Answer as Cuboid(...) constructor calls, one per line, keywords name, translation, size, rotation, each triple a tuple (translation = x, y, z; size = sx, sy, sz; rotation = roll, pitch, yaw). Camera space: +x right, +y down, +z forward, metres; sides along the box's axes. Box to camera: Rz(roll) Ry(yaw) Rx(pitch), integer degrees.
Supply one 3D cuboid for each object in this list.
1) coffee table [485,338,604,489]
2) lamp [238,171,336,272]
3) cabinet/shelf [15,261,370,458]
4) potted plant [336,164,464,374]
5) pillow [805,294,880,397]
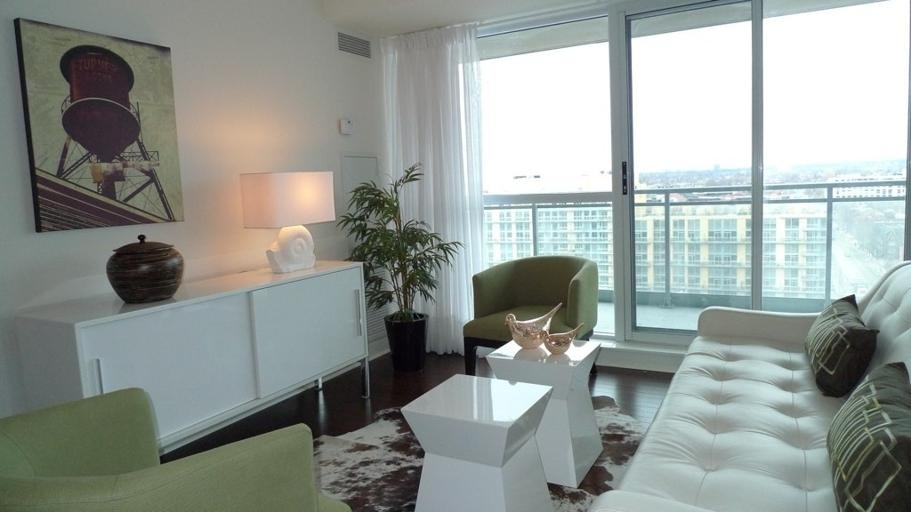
Cuboid(name="coffee table", translation=(0.794, 1.091, 4.165), size=(0.864, 1.145, 0.909), rotation=(-2, -1, 28))
Cuboid(name="lamp", translation=(-1.356, -0.275, 4.658), size=(0.718, 0.811, 0.295), rotation=(-3, 10, -15))
Cuboid(name="cabinet/shelf", translation=(-1.877, 0.843, 4.566), size=(0.785, 1.164, 2.651), rotation=(1, 6, 27))
Cuboid(name="potted plant", translation=(-0.554, 0.093, 5.562), size=(1.111, 1.954, 0.949), rotation=(1, 10, 11))
Cuboid(name="pillow", translation=(2.441, 0.581, 3.582), size=(0.263, 0.341, 0.637), rotation=(1, 6, 21))
